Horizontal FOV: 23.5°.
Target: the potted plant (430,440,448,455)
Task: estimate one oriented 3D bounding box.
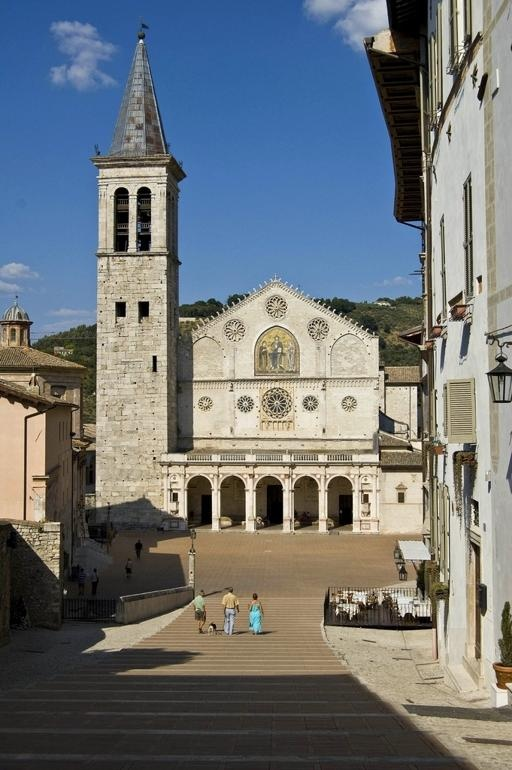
[{"bbox_3d":[3.615,1.221,24.401,0.234,0.169,0.286,8,-17,-33],"label":"potted plant"}]
